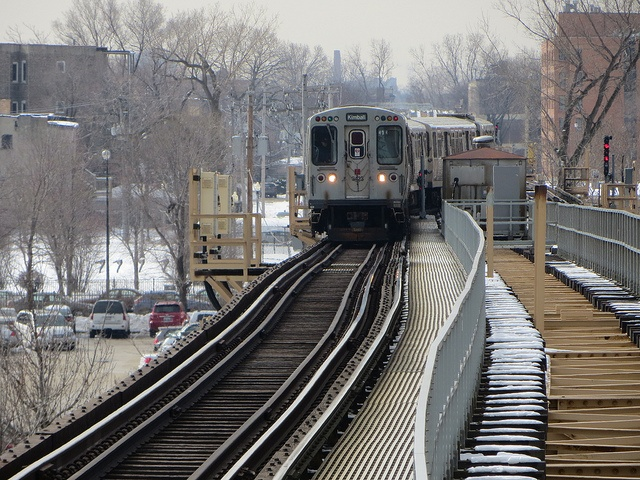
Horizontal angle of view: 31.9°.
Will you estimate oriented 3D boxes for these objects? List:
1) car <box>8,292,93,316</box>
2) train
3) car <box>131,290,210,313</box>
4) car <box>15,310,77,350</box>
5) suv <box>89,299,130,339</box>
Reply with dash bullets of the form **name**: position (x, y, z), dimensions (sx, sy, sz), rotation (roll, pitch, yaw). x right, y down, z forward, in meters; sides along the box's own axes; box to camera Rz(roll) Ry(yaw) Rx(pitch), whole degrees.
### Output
- **car**: position (-11.926, 3.421, 51.110), dimensions (1.882, 1.991, 9.577), rotation (0, -2, -3)
- **train**: position (2.434, -1.978, 35.731), dimensions (5.553, 4.662, 12.111), rotation (2, 4, 14)
- **car**: position (-7.586, 3.157, 56.640), dimensions (3.308, 1.030, 1.742), rotation (-1, 2, -2)
- **car**: position (-9.371, 3.068, 38.111), dimensions (2.253, 1.922, 2.285), rotation (-2, 2, -29)
- **suv**: position (-9.051, 3.558, 47.221), dimensions (1.663, 1.625, 3.564), rotation (0, 5, -3)
